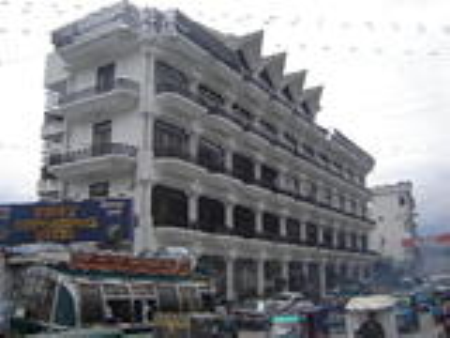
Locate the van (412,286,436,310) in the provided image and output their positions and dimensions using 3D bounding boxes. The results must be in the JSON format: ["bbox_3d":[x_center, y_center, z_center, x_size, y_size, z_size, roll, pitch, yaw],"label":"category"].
[{"bbox_3d":[15.205,9.894,39.663,1.743,1.585,3.137,-7,-32,13],"label":"van"}]

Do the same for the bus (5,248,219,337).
[{"bbox_3d":[-4.297,5.331,22.280,8.726,3.652,2.737,13,-26,-34],"label":"bus"}]
